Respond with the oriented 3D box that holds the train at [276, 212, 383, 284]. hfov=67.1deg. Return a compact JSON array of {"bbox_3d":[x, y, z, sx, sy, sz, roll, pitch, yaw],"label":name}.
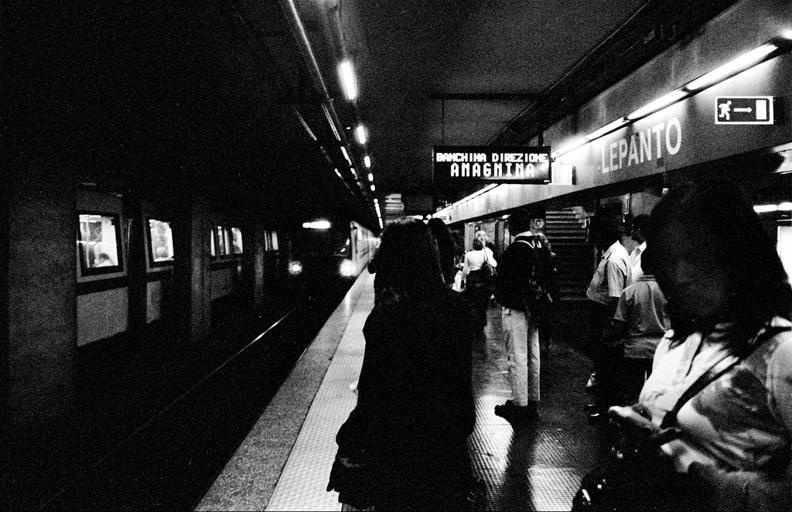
[{"bbox_3d":[-1.928,-0.155,20.131,1.381,1.440,6.259,-1,0,4],"label":"train"}]
